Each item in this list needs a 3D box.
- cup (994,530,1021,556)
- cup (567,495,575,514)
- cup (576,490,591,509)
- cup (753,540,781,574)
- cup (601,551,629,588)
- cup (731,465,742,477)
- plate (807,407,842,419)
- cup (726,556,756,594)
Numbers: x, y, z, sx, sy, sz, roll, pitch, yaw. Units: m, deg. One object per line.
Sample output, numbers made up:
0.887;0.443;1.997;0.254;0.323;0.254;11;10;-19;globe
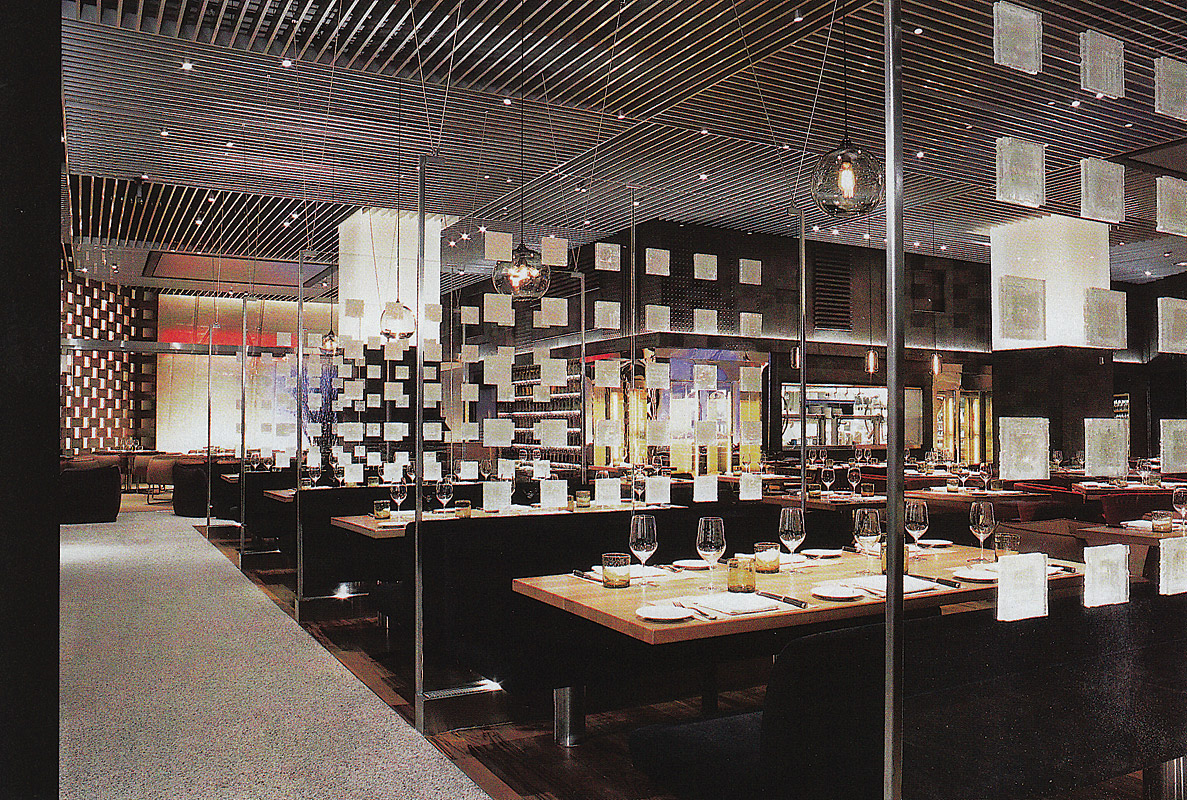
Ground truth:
1.478;0.509;3.493;0.120;0.088;0.091;-1;0;-1;cup
-0.115;0.645;6.060;0.071;0.124;0.071;-1;-5;0;cup
-0.052;0.612;5.995;0.094;0.105;0.093;1;-3;0;cup
0.806;0.733;4.581;0.129;0.138;0.130;0;-1;0;cup
0.116;0.782;4.493;0.135;0.152;0.136;0;-1;0;cup
0.994;0.488;6.754;0.068;0.069;0.128;-1;-14;10;cup
3.426;0.156;14.349;0.577;0.177;0.139;-1;3;-36;plate
0.657;0.775;4.360;0.125;0.134;0.127;0;2;0;cup
